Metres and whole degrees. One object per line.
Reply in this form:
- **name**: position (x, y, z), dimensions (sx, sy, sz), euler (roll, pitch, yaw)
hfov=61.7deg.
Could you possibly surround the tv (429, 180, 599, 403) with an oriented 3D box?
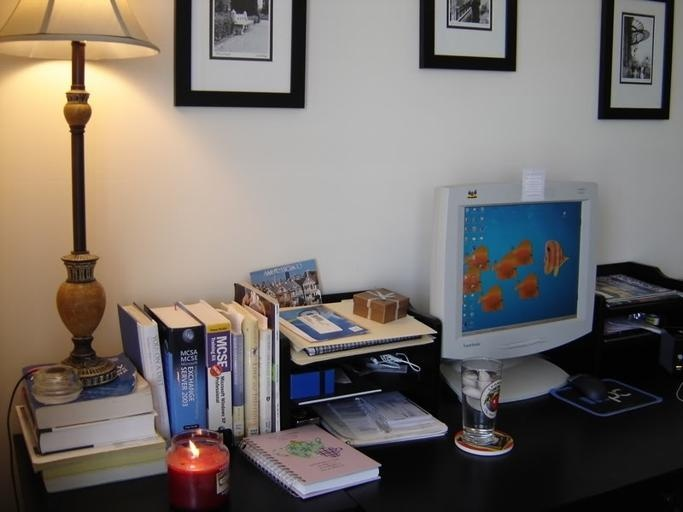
- **tv**: position (0.496, 0.096, 1.666), dimensions (0.554, 0.674, 0.334), euler (-5, 8, -24)
